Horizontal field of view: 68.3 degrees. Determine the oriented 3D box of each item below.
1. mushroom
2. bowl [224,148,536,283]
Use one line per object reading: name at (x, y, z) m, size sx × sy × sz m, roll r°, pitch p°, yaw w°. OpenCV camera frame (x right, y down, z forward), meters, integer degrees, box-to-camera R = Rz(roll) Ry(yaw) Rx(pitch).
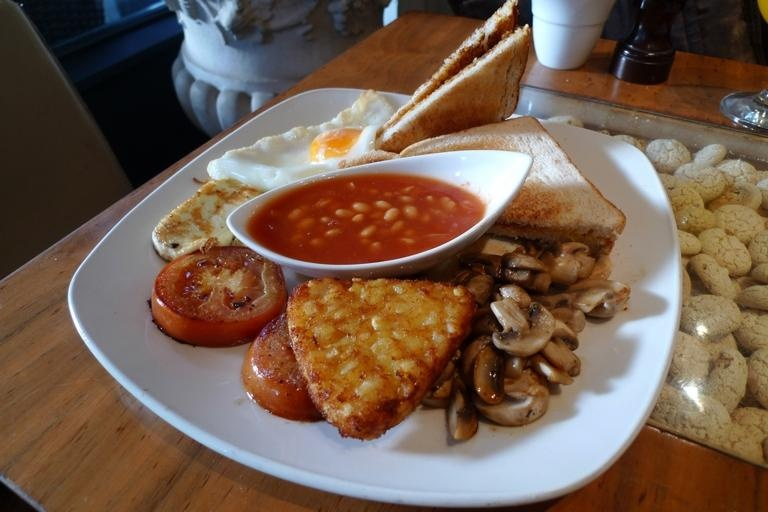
mushroom at (0.444, 0.400, 2.195) m, size 0.578 × 0.231 × 0.901 m, roll 34°, pitch 56°, yaw 17°
bowl at (0.035, -0.321, 2.420) m, size 1.422 × 0.471 × 0.883 m, roll -1°, pitch 18°, yaw 4°
